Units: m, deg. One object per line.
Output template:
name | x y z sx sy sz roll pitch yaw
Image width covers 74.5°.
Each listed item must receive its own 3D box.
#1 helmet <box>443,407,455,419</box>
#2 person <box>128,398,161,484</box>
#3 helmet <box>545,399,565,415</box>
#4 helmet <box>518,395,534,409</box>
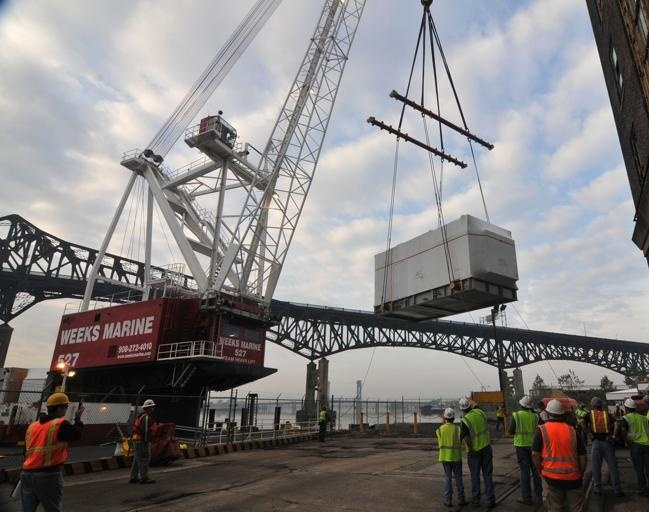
helmet | 2.974 3.726 10.175 0.310 0.204 0.396 1 9 10
person | -5.277 5.402 12.500 0.667 2.228 0.717 8 -21 -21
helmet | 3.844 2.526 7.124 0.314 0.211 0.389 -4 -14 37
helmet | 4.820 3.473 10.178 0.313 0.252 0.396 8 -13 13
